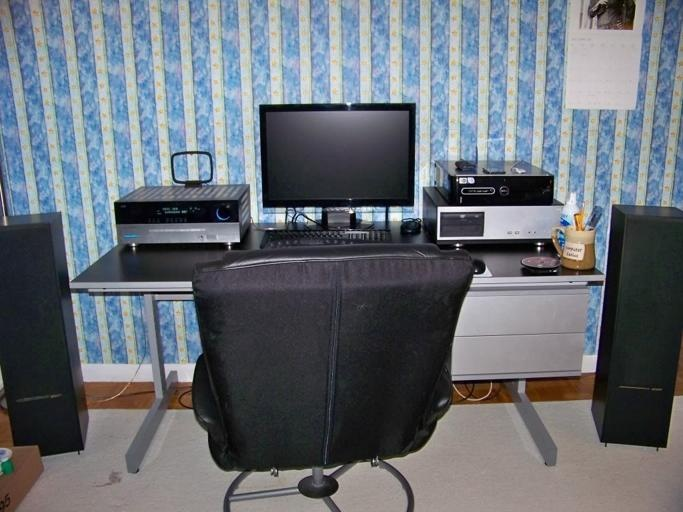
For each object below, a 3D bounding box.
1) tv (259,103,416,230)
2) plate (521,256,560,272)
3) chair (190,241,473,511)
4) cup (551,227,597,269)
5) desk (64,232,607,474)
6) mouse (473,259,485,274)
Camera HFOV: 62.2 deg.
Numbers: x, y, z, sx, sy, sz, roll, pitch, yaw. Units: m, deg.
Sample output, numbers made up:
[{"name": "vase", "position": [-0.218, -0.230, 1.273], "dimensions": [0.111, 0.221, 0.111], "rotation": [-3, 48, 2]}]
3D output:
[{"name": "tv", "position": [-0.019, -0.466, 2.821], "dimensions": [0.602, 0.470, 0.182], "rotation": [0, 10, -1]}, {"name": "plate", "position": [0.880, 0.041, 2.494], "dimensions": [0.168, 0.041, 0.125], "rotation": [2, 15, 11]}, {"name": "chair", "position": [0.049, 0.269, 2.022], "dimensions": [0.774, 1.029, 0.759], "rotation": [-1, 24, -5]}, {"name": "cup", "position": [1.043, -0.043, 2.562], "dimensions": [0.205, 0.196, 0.142], "rotation": [9, 28, 30]}, {"name": "desk", "position": [0.454, 0.377, 3.035], "dimensions": [2.300, 1.174, 1.089], "rotation": [-1, 17, -1]}, {"name": "mouse", "position": [0.418, 0.040, 1.731], "dimensions": [0.045, 0.049, 0.045], "rotation": [-1, 10, 2]}]
